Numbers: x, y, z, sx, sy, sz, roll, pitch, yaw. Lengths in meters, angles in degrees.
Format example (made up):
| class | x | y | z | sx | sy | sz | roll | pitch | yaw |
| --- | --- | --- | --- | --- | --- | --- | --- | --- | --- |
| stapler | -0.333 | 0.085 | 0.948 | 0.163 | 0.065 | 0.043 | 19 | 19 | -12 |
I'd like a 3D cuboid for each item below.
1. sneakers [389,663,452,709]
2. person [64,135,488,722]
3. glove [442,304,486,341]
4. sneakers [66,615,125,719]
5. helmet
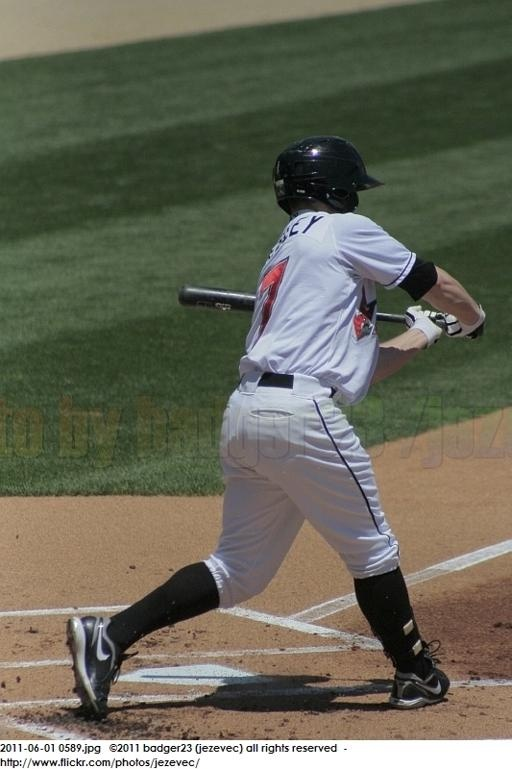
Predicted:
| class | x | y | z | sx | sy | sz | roll | pitch | yaw |
| --- | --- | --- | --- | --- | --- | --- | --- | --- | --- |
| sneakers | 0.564 | 1.021 | 4.101 | 0.093 | 0.106 | 0.258 | 1 | 5 | 41 |
| person | 0.111 | 0.127 | 4.136 | 1.450 | 1.899 | 0.696 | -4 | 13 | -4 |
| glove | 0.776 | -0.215 | 4.290 | 0.166 | 0.082 | 0.105 | 16 | -17 | -5 |
| sneakers | -0.528 | 0.937 | 3.986 | 0.162 | 0.336 | 0.158 | -11 | 15 | -31 |
| helmet | 0.248 | -0.733 | 4.274 | 0.361 | 0.223 | 0.249 | 8 | -9 | -15 |
